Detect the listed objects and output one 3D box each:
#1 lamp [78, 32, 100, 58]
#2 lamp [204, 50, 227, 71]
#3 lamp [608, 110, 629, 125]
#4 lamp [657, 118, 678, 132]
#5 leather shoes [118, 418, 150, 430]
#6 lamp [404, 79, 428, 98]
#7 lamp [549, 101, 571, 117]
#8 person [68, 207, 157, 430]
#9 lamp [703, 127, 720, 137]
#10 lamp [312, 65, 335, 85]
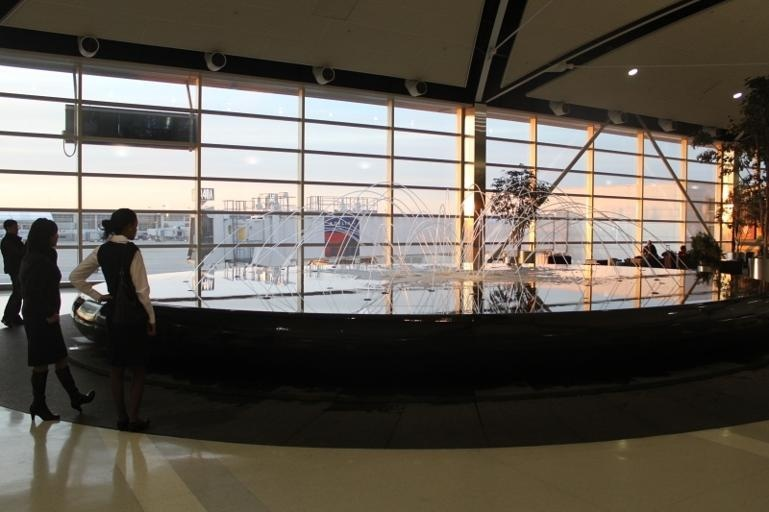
[{"bbox_3d":[-5.685,-4.036,11.028,0.379,0.380,0.382,-1,7,-19],"label":"lamp"},{"bbox_3d":[-3.482,-4.051,11.868,0.465,0.372,0.307,-1,7,-19],"label":"lamp"},{"bbox_3d":[6.490,-3.893,16.046,0.734,0.321,0.275,-4,9,-39],"label":"lamp"},{"bbox_3d":[8.415,-3.931,17.160,0.418,0.379,0.099,-3,20,-5],"label":"lamp"},{"bbox_3d":[-2.302,1.556,5.294,0.263,0.120,0.111,-1,-2,-9],"label":"leather shoes"},{"bbox_3d":[0.737,-3.959,13.538,0.353,0.458,0.445,17,12,-34],"label":"lamp"},{"bbox_3d":[4.660,-3.948,15.318,0.723,0.313,0.322,-4,9,-35],"label":"lamp"},{"bbox_3d":[-2.425,0.582,5.259,0.730,2.010,0.453,5,7,27],"label":"person"},{"bbox_3d":[10.416,-3.971,18.284,0.629,0.278,0.230,-3,8,-33],"label":"lamp"},{"bbox_3d":[-1.336,-3.989,12.649,0.369,0.368,0.388,-5,3,4],"label":"lamp"}]
